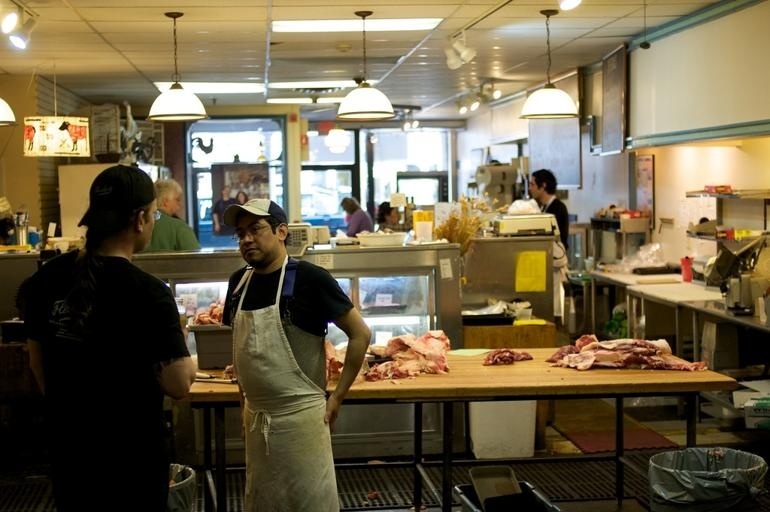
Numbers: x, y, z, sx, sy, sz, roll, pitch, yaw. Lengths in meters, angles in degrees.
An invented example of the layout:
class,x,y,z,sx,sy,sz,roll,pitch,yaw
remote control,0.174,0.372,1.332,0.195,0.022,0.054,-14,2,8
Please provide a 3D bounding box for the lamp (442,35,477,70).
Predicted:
class,x,y,z,sx,sy,sz,roll,pitch,yaw
lamp,0.927,-2.543,8.148,0.278,0.273,0.466,-18,-9,8

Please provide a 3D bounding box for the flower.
class,x,y,z,sx,sy,sz,roll,pitch,yaw
flower,0.779,-0.303,6.443,0.535,0.544,0.945,0,6,9

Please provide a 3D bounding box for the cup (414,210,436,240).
class,x,y,z,sx,sy,sz,roll,pitch,yaw
cup,0.367,-0.286,6.087,0.182,0.264,0.462,-1,6,4

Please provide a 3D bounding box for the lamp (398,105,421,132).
class,x,y,z,sx,sy,sz,roll,pitch,yaw
lamp,0.480,-2.987,14.548,0.599,0.629,0.653,-1,-1,8

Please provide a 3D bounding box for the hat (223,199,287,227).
class,x,y,z,sx,sy,sz,roll,pitch,yaw
hat,-0.746,-0.233,3.825,0.286,0.137,0.173,18,-9,-30

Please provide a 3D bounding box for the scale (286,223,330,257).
class,x,y,z,sx,sy,sz,roll,pitch,yaw
scale,-0.678,-0.154,5.821,0.333,0.219,0.321,-1,2,-5
